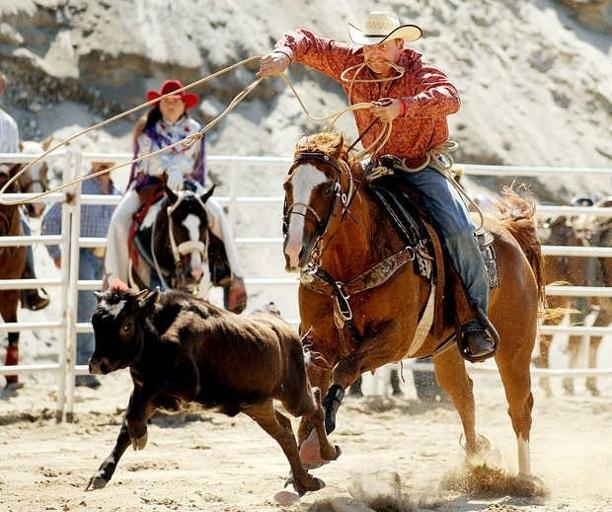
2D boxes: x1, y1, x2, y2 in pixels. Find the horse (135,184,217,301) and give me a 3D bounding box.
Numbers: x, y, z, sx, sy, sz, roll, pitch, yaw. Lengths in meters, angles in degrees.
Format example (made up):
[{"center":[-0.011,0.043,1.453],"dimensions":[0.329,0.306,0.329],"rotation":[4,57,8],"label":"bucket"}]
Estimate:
[{"center":[-1.460,-0.160,15.748],"dimensions":[0.883,1.219,0.552],"rotation":[-1,-2,-7],"label":"horse"}]
